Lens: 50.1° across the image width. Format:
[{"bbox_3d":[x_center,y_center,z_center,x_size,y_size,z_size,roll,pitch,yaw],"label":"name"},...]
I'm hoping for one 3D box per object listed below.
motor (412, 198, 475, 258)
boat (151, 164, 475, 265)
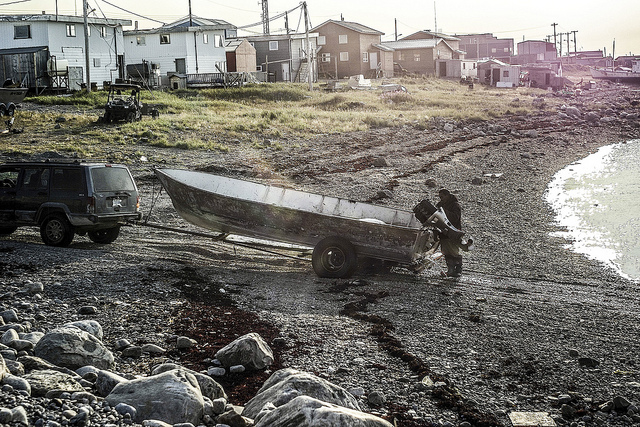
[{"bbox_3d":[3.430,0.471,19.305,1.436,1.611,0.950,0,10,-6],"label":"motor"},{"bbox_3d":[-0.819,0.098,20.893,11.433,2.571,3.104,10,4,26],"label":"boat"}]
